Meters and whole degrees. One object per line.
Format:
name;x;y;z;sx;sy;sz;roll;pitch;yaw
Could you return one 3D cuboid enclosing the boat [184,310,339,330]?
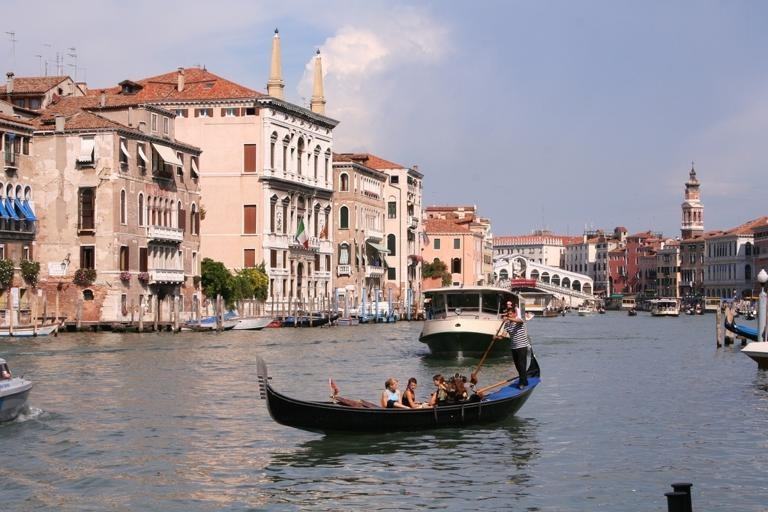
boat;-8.894;4.545;97.785;9.031;1.090;1.499;-1;-1;-18
